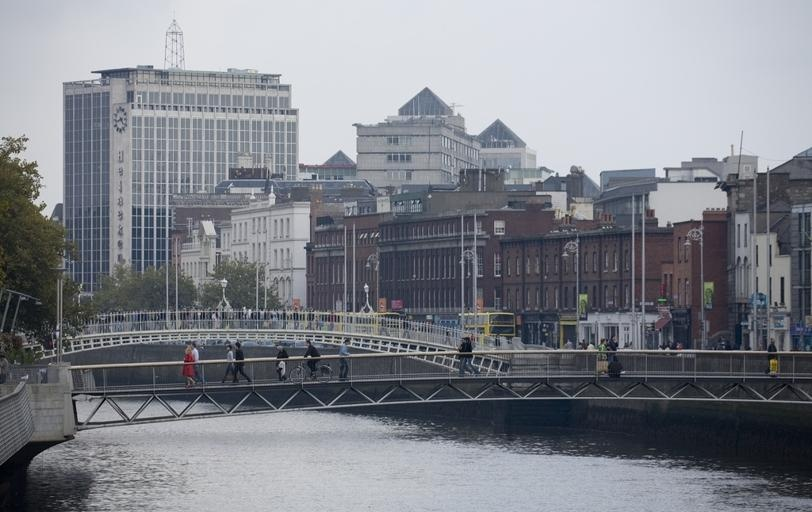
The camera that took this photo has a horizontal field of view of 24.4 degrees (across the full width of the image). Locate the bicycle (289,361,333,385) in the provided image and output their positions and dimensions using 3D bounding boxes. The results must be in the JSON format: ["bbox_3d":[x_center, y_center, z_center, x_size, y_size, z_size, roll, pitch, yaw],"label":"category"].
[{"bbox_3d":[-6.100,7.384,120.211,2.824,1.263,0.657,2,-5,-34],"label":"bicycle"}]

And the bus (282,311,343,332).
[{"bbox_3d":[-8.982,6.169,177.821,5.055,2.506,24.219,0,-4,-5],"label":"bus"}]

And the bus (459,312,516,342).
[{"bbox_3d":[7.429,6.321,175.764,2.235,2.463,5.559,1,1,-30],"label":"bus"}]
